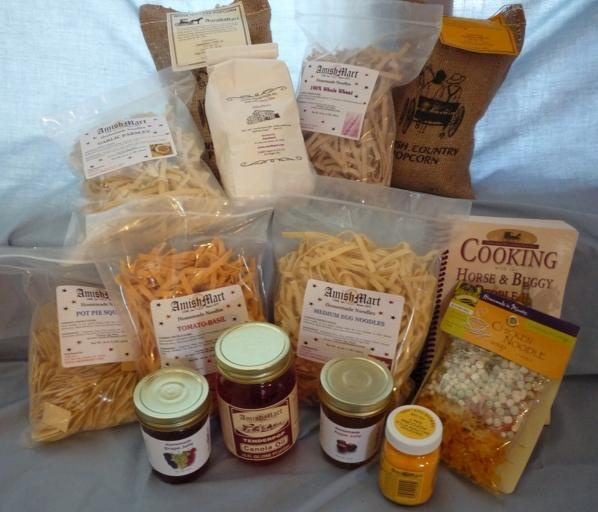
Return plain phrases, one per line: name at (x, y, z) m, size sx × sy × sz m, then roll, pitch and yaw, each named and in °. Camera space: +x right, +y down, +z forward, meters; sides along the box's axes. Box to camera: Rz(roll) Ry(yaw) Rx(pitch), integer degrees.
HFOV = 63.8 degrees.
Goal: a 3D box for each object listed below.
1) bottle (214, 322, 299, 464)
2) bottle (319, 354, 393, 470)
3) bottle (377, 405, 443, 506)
bottle at (-0.063, 0.217, 0.760) m, size 0.121 × 0.196 × 0.131 m, roll -3°, pitch 32°, yaw 2°
bottle at (0.090, 0.243, 0.751) m, size 0.110 × 0.143 × 0.104 m, roll -3°, pitch 32°, yaw 2°
bottle at (0.167, 0.290, 0.712) m, size 0.080 × 0.129 × 0.105 m, roll 8°, pitch 34°, yaw 20°
